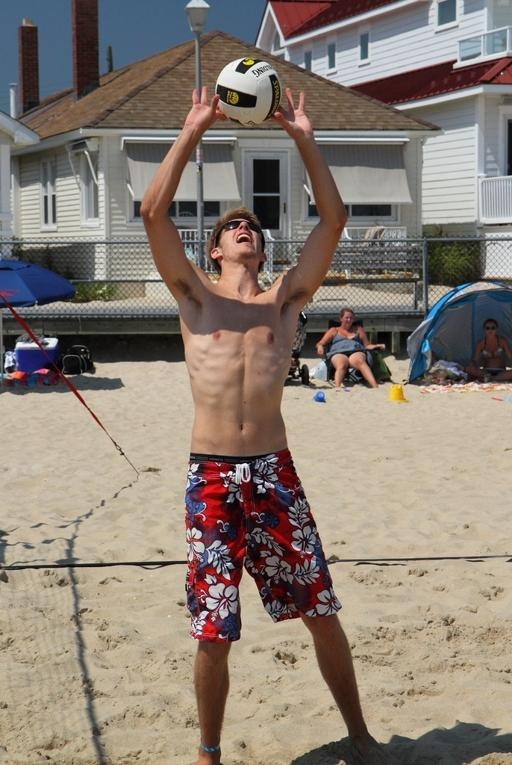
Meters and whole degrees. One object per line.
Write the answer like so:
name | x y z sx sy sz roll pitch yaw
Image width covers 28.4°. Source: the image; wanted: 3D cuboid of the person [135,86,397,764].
person | -0.006 0.133 3.479 0.722 2.384 0.716 -1 4 -25

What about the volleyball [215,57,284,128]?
volleyball | -0.009 -1.133 3.950 0.264 0.257 0.272 19 34 29

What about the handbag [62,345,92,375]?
handbag | -2.448 -0.278 14.004 0.300 0.435 0.456 -1 -26 -4

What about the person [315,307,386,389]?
person | 1.268 -0.434 13.530 0.872 0.934 1.427 -1 14 -5

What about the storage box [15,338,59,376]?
storage box | -2.898 -0.366 13.453 0.695 0.476 0.665 -2 12 -7

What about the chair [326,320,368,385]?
chair | 1.198 -0.445 13.555 0.540 0.576 0.954 -2 18 -6
